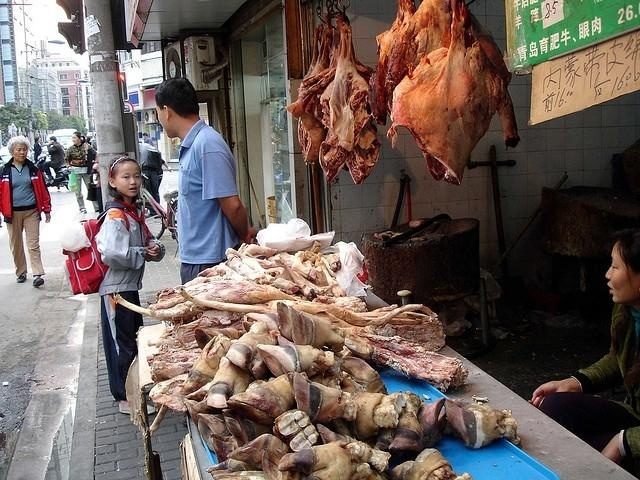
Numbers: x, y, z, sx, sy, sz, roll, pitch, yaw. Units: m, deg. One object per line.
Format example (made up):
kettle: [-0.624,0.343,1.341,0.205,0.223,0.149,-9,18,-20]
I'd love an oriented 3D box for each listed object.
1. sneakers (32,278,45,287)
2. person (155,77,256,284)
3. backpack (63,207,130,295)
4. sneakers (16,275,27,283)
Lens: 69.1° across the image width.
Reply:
sneakers: [-4.970,0.738,8.207,0.101,0.118,0.233,-2,-1,-36]
person: [-0.862,-0.416,3.475,0.794,1.551,0.489,7,16,35]
backpack: [-1.924,0.108,3.866,0.354,0.660,0.283,-10,15,-30]
sneakers: [-5.386,0.704,8.398,0.094,0.100,0.215,1,-5,-14]
